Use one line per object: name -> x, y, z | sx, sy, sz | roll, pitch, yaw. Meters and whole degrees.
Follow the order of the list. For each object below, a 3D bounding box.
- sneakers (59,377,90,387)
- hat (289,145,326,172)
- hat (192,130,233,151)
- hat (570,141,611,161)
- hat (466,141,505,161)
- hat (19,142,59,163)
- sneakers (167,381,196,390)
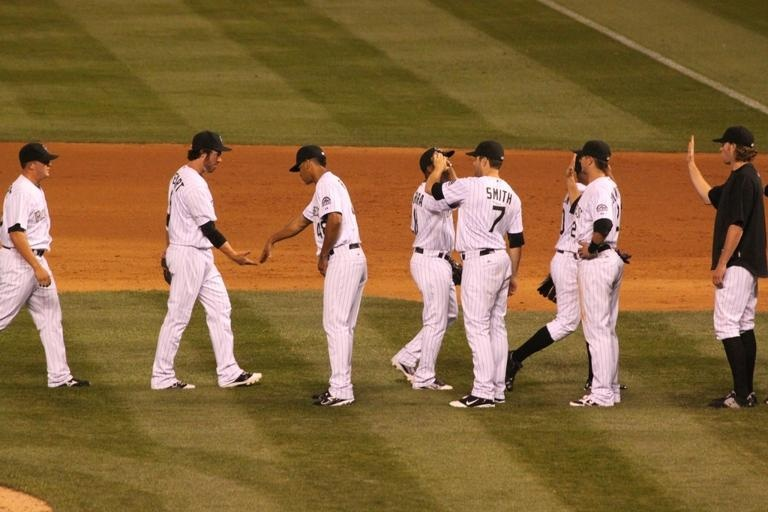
sneakers -> -5.451, 2.216, 27.444 | 0.554, 0.146, 0.161 | -2, 3, -1
hat -> -1.446, -1.690, 27.638 | 0.800, 0.303, 0.473 | -10, 4, 26
hat -> -3.135, -1.975, 27.702 | 0.860, 0.296, 0.495 | 0, 13, -4
hat -> 3.658, -1.840, 27.468 | 0.623, 0.229, 0.379 | 14, 16, 18
hat -> 1.781, -1.817, 27.530 | 0.641, 0.240, 0.367 | 13, 17, 19
hat -> -6.163, -1.775, 27.613 | 0.713, 0.265, 0.380 | -6, 14, -5
sneakers -> -3.604, 2.271, 27.592 | 0.531, 0.131, 0.155 | -2, 10, -6
